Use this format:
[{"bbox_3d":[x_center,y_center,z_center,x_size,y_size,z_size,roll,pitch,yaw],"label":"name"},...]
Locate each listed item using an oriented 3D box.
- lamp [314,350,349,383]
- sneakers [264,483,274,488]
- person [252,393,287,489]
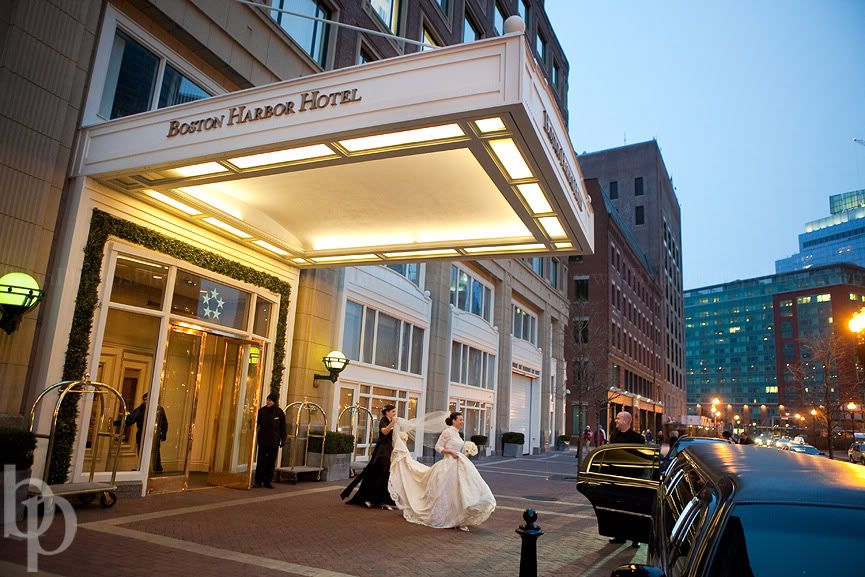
[{"bbox_3d":[-3.268,2.416,17.671,1.086,1.236,0.889,-10,-19,28],"label":"lamp"},{"bbox_3d":[-4.342,5.243,15.158,0.274,0.180,0.102,2,-6,-26],"label":"sneakers"},{"bbox_3d":[-4.397,4.075,15.250,0.778,2.411,0.583,7,-8,-11],"label":"person"}]
